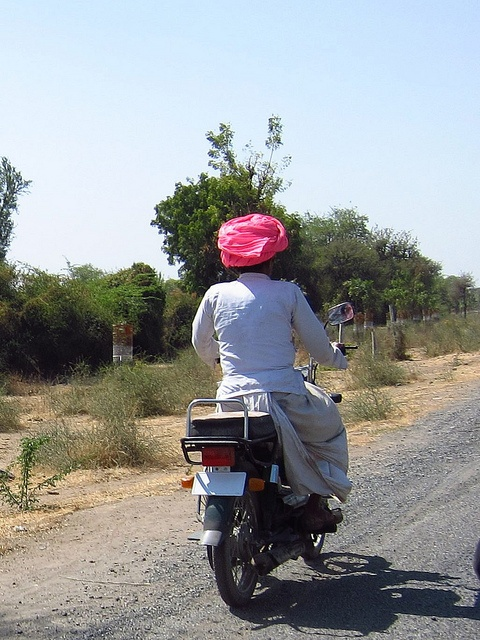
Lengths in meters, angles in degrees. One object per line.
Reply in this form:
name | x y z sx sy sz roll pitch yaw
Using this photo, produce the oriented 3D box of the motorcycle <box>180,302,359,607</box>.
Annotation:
motorcycle | 0.154 0.769 3.476 0.939 1.517 1.078 -4 -1 -5
